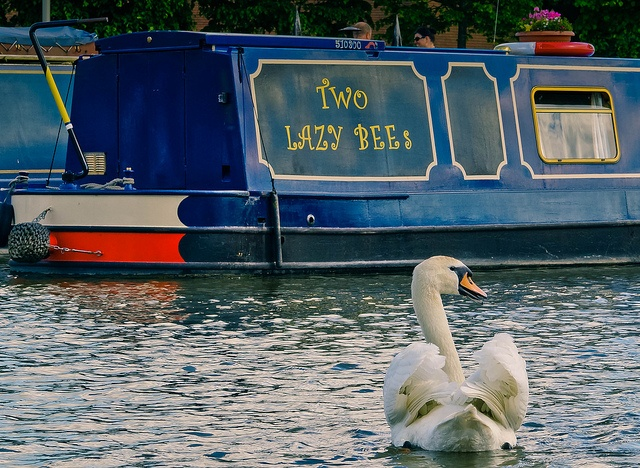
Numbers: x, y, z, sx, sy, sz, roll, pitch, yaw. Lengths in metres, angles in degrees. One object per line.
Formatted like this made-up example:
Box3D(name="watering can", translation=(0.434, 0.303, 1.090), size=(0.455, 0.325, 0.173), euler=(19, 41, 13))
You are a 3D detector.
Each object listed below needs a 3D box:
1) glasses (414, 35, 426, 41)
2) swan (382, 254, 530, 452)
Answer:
Box3D(name="glasses", translation=(1.598, -3.163, 23.543), size=(0.141, 0.041, 0.129), euler=(8, 0, -14))
Box3D(name="swan", translation=(1.285, 1.131, 14.500), size=(1.715, 1.781, 1.523), euler=(0, 2, 2))
